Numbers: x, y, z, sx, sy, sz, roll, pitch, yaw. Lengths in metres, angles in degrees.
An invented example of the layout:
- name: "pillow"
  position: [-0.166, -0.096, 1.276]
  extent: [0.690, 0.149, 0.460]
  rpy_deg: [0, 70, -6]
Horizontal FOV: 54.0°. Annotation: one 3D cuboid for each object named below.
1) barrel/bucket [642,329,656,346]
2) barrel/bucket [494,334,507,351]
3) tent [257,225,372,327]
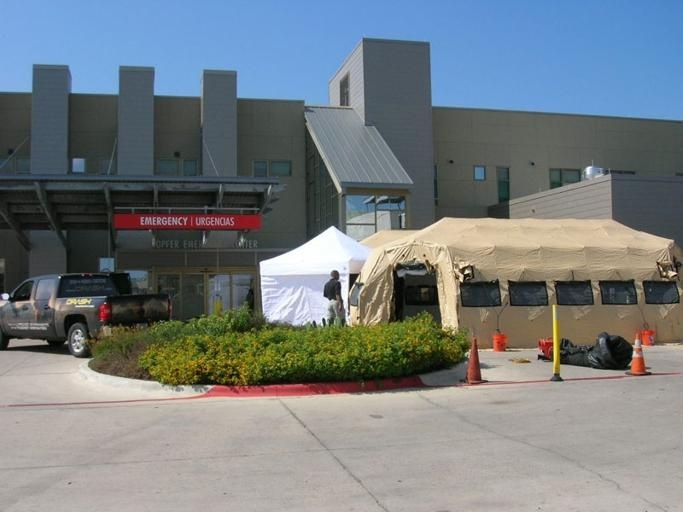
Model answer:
- name: "barrel/bucket"
  position: [8.813, 2.358, 19.247]
  extent: [0.379, 0.414, 0.397]
  rpy_deg: [0, -8, 0]
- name: "barrel/bucket"
  position: [4.302, 2.413, 18.480]
  extent: [0.369, 0.425, 0.386]
  rpy_deg: [0, -7, 0]
- name: "tent"
  position: [-1.129, 0.657, 25.401]
  extent: [3.508, 3.320, 3.791]
  rpy_deg: [0, 3, 11]
